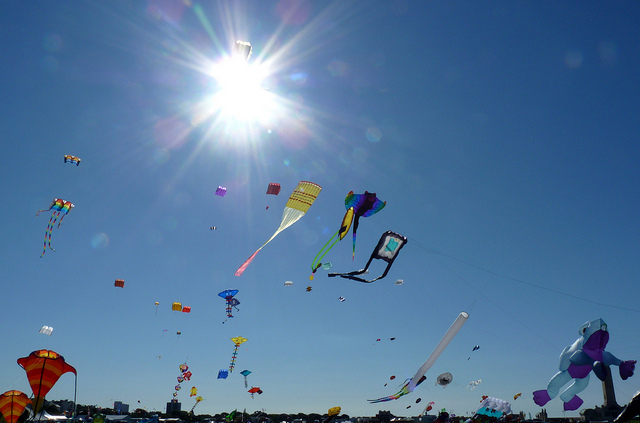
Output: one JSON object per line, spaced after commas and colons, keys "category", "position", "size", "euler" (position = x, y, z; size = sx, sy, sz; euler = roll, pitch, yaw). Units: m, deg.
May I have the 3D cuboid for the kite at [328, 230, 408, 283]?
{"category": "kite", "position": [3.105, 2.044, 26.403], "size": [4.472, 1.550, 2.678], "euler": [5, 23, -46]}

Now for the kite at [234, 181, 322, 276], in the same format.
{"category": "kite", "position": [-1.241, 0.050, 23.454], "size": [1.758, 7.488, 0.373], "euler": [40, -3, 3]}

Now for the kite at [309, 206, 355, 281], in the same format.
{"category": "kite", "position": [0.471, 1.974, 27.578], "size": [1.847, 5.690, 0.262], "euler": [23, -23, 28]}

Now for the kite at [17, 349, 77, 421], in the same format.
{"category": "kite", "position": [-15.755, 9.819, 24.954], "size": [2.125, 3.598, 2.214], "euler": [32, -47, -32]}
